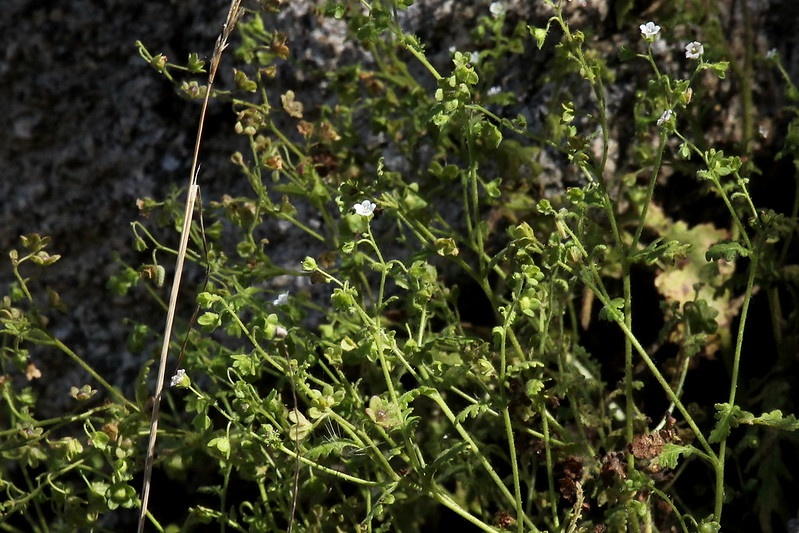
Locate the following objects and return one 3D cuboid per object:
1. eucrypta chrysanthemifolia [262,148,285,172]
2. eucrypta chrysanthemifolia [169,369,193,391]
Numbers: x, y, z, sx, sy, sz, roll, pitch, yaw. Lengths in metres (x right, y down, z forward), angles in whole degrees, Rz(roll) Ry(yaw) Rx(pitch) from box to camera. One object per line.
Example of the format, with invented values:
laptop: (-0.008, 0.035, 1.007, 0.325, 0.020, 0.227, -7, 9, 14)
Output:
eucrypta chrysanthemifolia: (-0.415, -0.347, 2.910, 0.035, 0.052, 0.090, 24, -9, -15)
eucrypta chrysanthemifolia: (-0.663, 0.347, 2.686, 0.047, 0.061, 0.095, -14, 12, -11)
